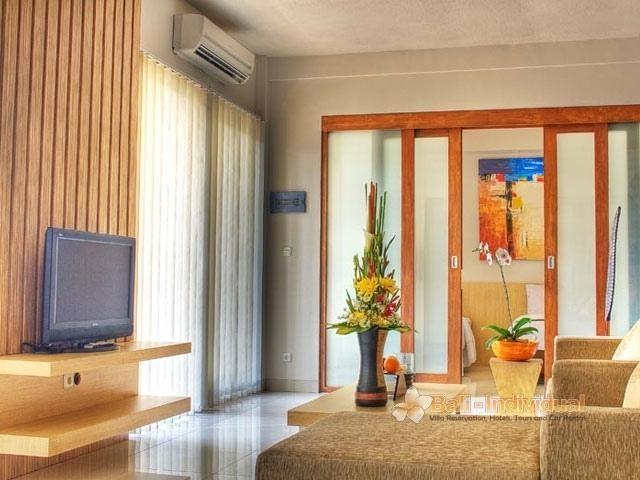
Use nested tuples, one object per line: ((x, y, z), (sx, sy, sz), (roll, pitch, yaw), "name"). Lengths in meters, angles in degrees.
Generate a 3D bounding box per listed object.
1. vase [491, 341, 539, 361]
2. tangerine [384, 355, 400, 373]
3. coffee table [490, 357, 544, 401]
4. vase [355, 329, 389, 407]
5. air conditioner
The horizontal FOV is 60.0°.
((1.355, 0.763, 3.869), (0.200, 0.077, 0.192), (-7, -10, 38), "vase")
((0.385, 0.688, 3.107), (0.093, 0.084, 0.092), (-16, -8, 24), "tangerine")
((1.436, 1.010, 3.877), (0.318, 0.253, 0.382), (26, -28, -33), "coffee table")
((0.257, 0.629, 2.753), (0.163, 0.398, 0.185), (1, -5, 4), "vase")
((-0.958, -1.672, 4.997), (0.290, 0.315, 0.942), (2, -2, 16), "air conditioner")
